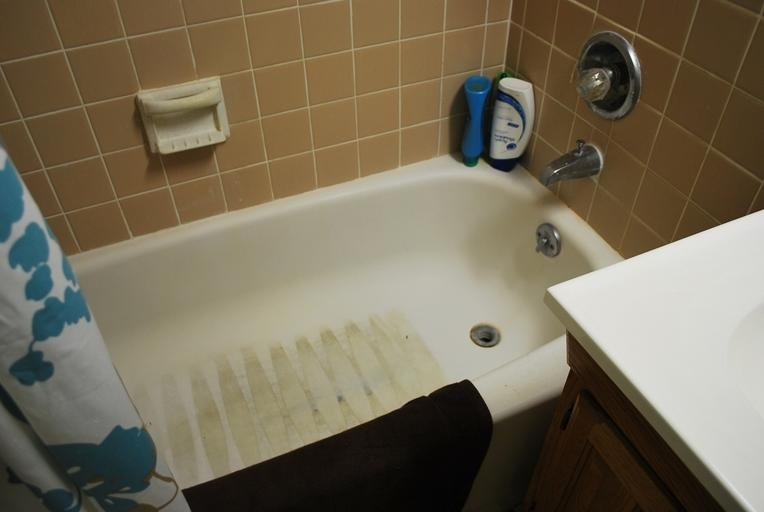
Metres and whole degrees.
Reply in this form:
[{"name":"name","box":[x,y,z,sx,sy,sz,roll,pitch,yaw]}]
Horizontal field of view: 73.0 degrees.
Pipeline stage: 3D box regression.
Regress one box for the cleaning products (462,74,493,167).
[{"name":"cleaning products","box":[0.306,-0.470,1.855,0.084,0.313,0.138,-10,40,-13]}]

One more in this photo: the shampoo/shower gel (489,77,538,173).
[{"name":"shampoo/shower gel","box":[0.438,-0.431,1.831,0.107,0.322,0.168,-24,46,-26]}]

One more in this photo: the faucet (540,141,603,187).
[{"name":"faucet","box":[0.593,-0.285,1.608,0.178,0.101,0.108,-14,37,0]}]
